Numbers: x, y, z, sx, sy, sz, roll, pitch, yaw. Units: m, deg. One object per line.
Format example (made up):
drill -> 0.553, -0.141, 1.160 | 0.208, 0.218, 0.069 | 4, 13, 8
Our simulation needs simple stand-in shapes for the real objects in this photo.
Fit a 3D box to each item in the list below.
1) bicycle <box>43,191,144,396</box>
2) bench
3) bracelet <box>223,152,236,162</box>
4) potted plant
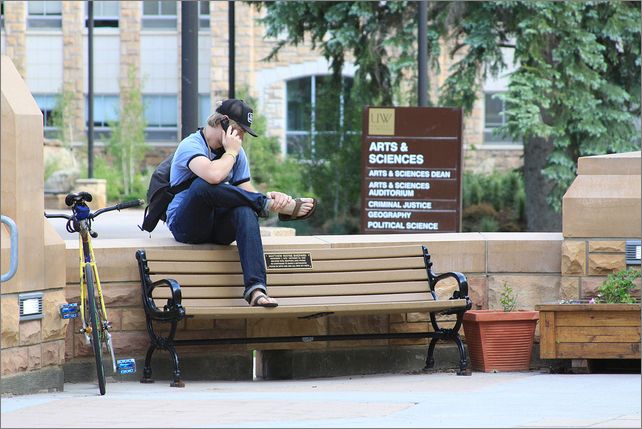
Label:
bicycle -> -3.595, 1.219, 23.429 | 0.988, 3.144, 0.932 | 4, 7, 45
bench -> -0.393, 1.667, 24.600 | 6.444, 2.486, 2.084 | 2, -8, -12
bracelet -> -1.441, -0.924, 23.606 | 0.143, 0.044, 0.144 | 42, -16, -21
potted plant -> 2.941, 1.907, 24.462 | 1.128, 1.243, 1.036 | 0, -4, 15
